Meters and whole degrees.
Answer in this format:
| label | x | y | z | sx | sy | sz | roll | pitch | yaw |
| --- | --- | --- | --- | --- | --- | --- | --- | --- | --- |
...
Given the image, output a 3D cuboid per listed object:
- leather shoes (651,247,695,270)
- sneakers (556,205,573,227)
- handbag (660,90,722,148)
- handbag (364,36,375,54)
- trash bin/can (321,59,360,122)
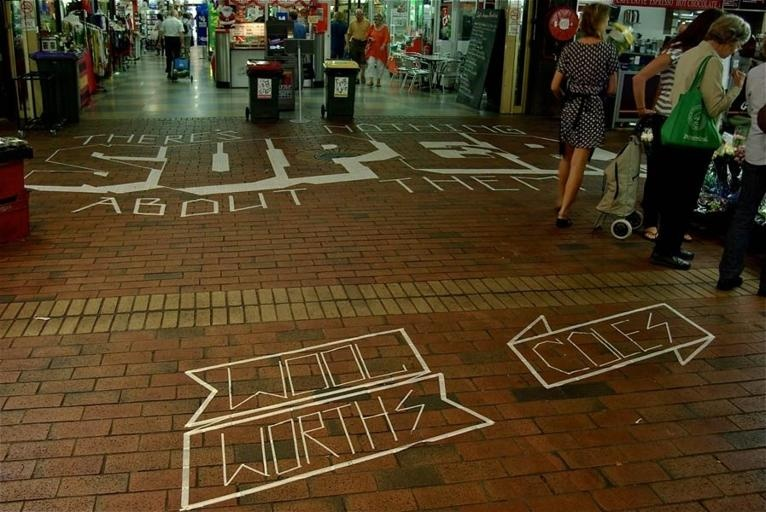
| label | x | y | z | sx | sy | sz | roll | pitch | yaw |
| --- | --- | --- | --- | --- | --- | --- | --- | --- | --- |
| leather shoes | 3.114 | 0.043 | 5.562 | 0.420 | 0.093 | 0.236 | 1 | 23 | 10 |
| sneakers | 2.313 | -0.493 | 6.627 | 0.214 | 0.118 | 0.341 | 4 | 25 | 22 |
| handbag | 3.053 | -1.322 | 5.059 | 0.542 | 0.578 | 0.238 | 10 | 29 | 16 |
| handbag | -0.492 | -7.455 | 18.637 | 0.284 | 0.494 | 0.449 | 13 | 4 | -8 |
| trash bin/can | -1.030 | -3.974 | 12.499 | 0.848 | 1.332 | 0.520 | 0 | 29 | -6 |
